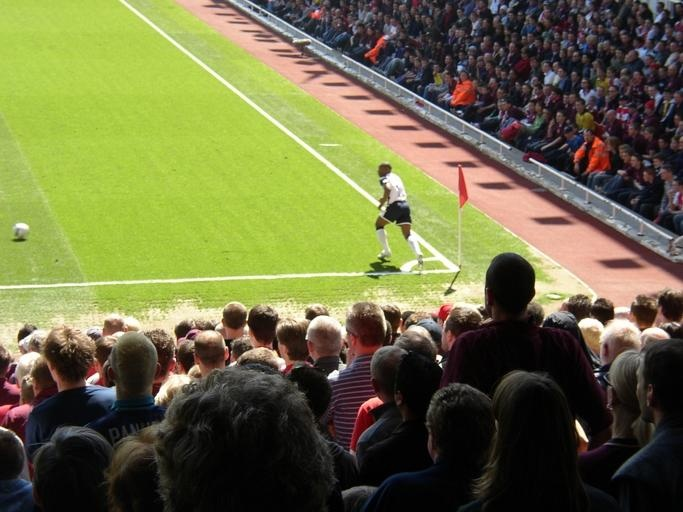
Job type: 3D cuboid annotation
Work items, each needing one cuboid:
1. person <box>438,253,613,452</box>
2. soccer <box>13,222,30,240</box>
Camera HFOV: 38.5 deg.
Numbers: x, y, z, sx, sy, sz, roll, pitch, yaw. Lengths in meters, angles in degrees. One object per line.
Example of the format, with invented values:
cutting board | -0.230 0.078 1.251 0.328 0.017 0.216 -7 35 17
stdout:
person | 1.659 0.854 8.717 1.272 2.442 0.973 -7 33 -8
soccer | -5.761 -0.443 17.752 0.309 0.347 0.305 1 6 11
